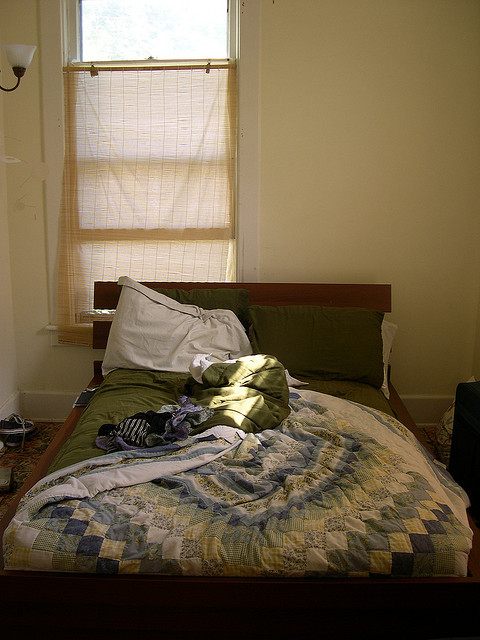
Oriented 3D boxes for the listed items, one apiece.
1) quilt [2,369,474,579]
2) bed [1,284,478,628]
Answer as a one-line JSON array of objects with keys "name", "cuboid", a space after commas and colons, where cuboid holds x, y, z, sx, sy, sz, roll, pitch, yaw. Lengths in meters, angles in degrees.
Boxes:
[{"name": "quilt", "cuboid": [0.002, 0.437, 1.987, 1.496, 0.272, 1.543, 8, 9, -5]}, {"name": "bed", "cuboid": [-0.005, 0.462, 1.879, 1.105, 0.508, 1.235, 0, 15, 2]}]
